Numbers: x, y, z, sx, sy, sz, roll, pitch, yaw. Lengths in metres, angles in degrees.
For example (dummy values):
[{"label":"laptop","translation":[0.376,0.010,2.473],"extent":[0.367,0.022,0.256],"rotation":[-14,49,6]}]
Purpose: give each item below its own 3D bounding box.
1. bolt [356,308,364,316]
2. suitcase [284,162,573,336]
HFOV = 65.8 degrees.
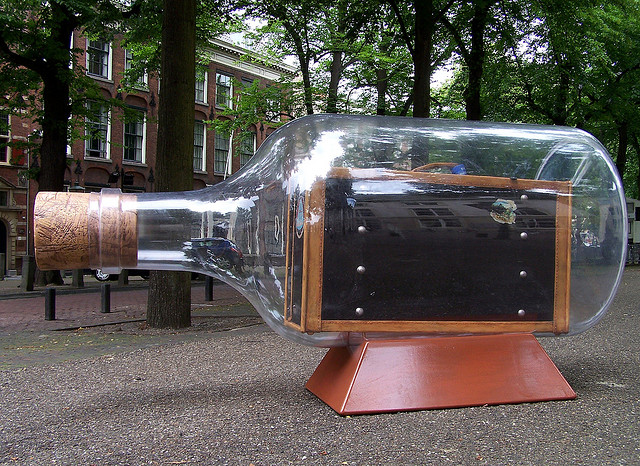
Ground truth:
[{"label":"bolt","translation":[0.286,0.567,3.503],"extent":[0.054,0.055,0.009],"rotation":[-1,-1,-2]},{"label":"suitcase","translation":[0.814,0.134,3.892],"extent":[2.137,1.194,0.797],"rotation":[2,-2,-11]}]
